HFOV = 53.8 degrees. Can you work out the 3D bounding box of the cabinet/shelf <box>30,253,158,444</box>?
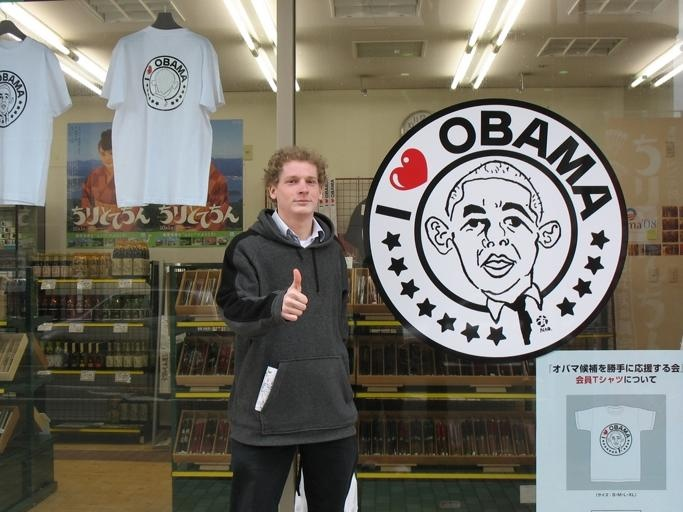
[{"bbox_3d":[-1.468,0.596,4.051,0.629,1.040,0.328,0,-10,-22],"label":"cabinet/shelf"}]
